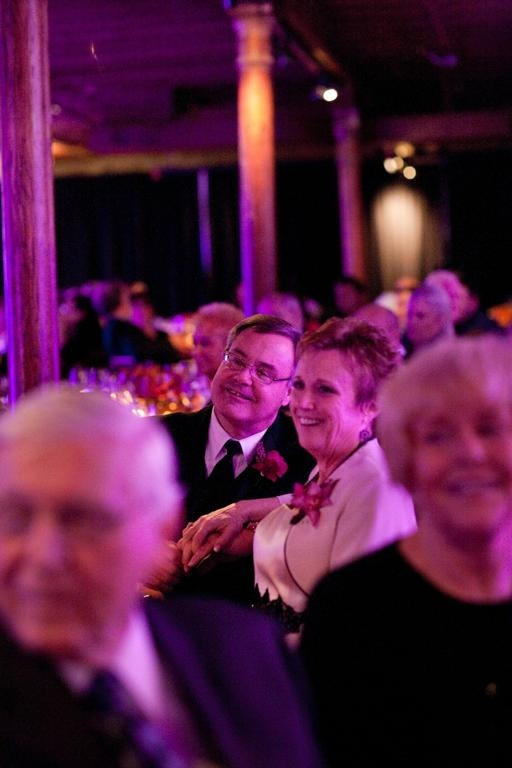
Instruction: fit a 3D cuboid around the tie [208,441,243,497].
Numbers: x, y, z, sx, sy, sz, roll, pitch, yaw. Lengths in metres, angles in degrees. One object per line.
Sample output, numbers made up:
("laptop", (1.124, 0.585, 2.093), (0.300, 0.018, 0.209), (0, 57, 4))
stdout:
("tie", (-0.078, 0.213, 1.930), (0.070, 0.132, 0.034), (2, -33, 13))
